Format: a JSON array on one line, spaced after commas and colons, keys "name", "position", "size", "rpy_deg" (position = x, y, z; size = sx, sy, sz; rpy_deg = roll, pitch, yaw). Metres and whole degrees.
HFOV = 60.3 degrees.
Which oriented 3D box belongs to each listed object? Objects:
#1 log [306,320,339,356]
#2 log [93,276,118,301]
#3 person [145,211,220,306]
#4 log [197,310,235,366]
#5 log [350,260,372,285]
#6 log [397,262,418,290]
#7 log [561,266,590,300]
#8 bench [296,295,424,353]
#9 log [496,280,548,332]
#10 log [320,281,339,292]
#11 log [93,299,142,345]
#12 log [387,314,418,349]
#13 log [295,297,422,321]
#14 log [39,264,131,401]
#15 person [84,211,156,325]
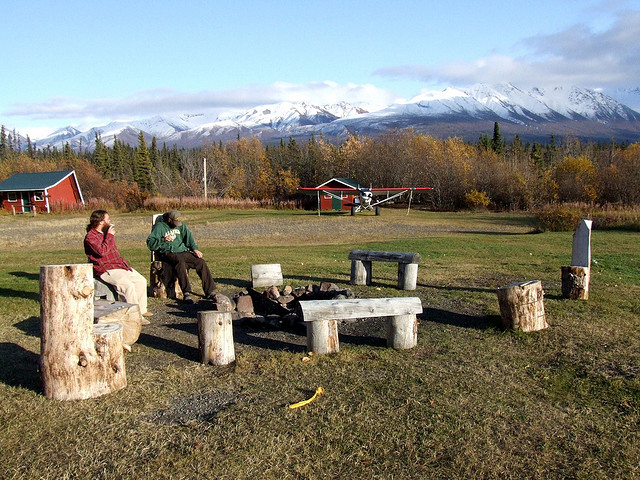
[{"name": "log", "position": [0.017, 1.528, 8.753], "size": [0.484, 0.579, 0.497], "rpy_deg": [2, -4, -26]}, {"name": "log", "position": [-3.834, 0.893, 9.846], "size": [0.495, 0.551, 0.143], "rpy_deg": [-3, 17, 23]}, {"name": "person", "position": [-2.794, 0.267, 11.424], "size": [1.902, 1.635, 1.040], "rpy_deg": [16, 18, 37]}, {"name": "log", "position": [-1.624, 1.505, 8.502], "size": [0.623, 0.803, 0.664], "rpy_deg": [-4, -4, 30]}, {"name": "log", "position": [0.958, 0.744, 12.741], "size": [0.474, 0.543, 0.526], "rpy_deg": [-1, 2, 1]}, {"name": "log", "position": [1.937, 0.804, 12.161], "size": [0.480, 0.613, 0.505], "rpy_deg": [0, 3, -11]}, {"name": "log", "position": [5.285, 0.835, 11.364], "size": [0.553, 0.692, 0.602], "rpy_deg": [-3, 11, 0]}, {"name": "bench", "position": [0.615, 1.283, 8.929], "size": [1.916, 0.879, 0.926], "rpy_deg": [-5, 11, -9]}, {"name": "log", "position": [3.381, 1.201, 9.522], "size": [0.764, 0.881, 0.791], "rpy_deg": [-8, -3, -31]}, {"name": "log", "position": [0.185, 0.936, 11.113], "size": [0.362, 0.125, 0.393], "rpy_deg": [-3, 11, -1]}, {"name": "log", "position": [-3.174, 1.186, 8.602], "size": [0.811, 0.409, 0.591], "rpy_deg": [7, 3, 39]}, {"name": "log", "position": [1.292, 1.437, 8.904], "size": [0.475, 0.567, 0.486], "rpy_deg": [-1, 3, -11]}, {"name": "log", "position": [0.633, 1.103, 8.706], "size": [1.591, 0.254, 0.455], "rpy_deg": [-2, 4, -7]}, {"name": "log", "position": [-3.181, 1.195, 7.254], "size": [1.056, 1.769, 0.421], "rpy_deg": [-7, 11, -23]}, {"name": "person", "position": [-3.683, 0.481, 10.008], "size": [0.955, 2.049, 0.683], "rpy_deg": [0, 11, 16]}]
